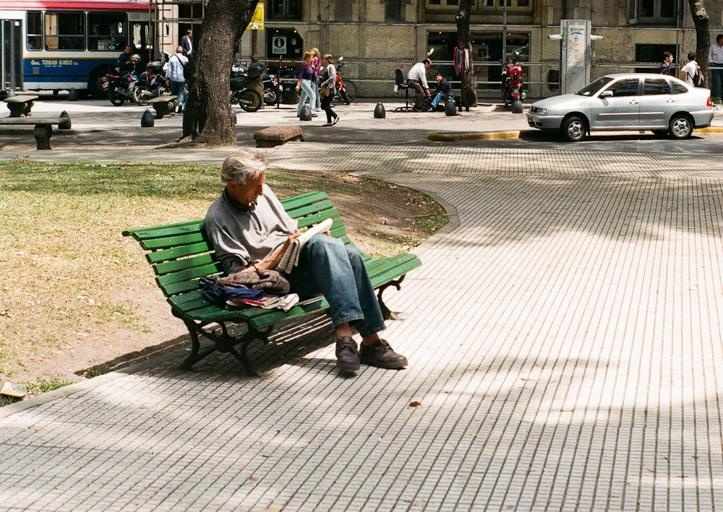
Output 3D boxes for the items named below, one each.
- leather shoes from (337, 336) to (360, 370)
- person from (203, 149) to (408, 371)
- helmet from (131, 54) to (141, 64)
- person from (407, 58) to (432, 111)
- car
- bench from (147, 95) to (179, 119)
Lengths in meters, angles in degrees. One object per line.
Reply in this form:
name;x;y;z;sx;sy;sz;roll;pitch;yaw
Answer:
leather shoes;-0.099;0.678;4.696;0.157;0.225;0.130;-1;13;-3
person;-0.442;0.011;5.029;1.321;1.611;0.822;-1;10;35
helmet;-10.347;-9.015;30.976;0.468;0.400;0.367;-17;43;-27
person;2.499;-7.377;29.361;0.996;2.173;1.364;1;13;5
car;8.123;-4.888;22.025;5.395;1.874;2.388;2;8;-1
bench;-7.843;-5.926;27.061;0.971;0.858;0.930;-8;16;-31
